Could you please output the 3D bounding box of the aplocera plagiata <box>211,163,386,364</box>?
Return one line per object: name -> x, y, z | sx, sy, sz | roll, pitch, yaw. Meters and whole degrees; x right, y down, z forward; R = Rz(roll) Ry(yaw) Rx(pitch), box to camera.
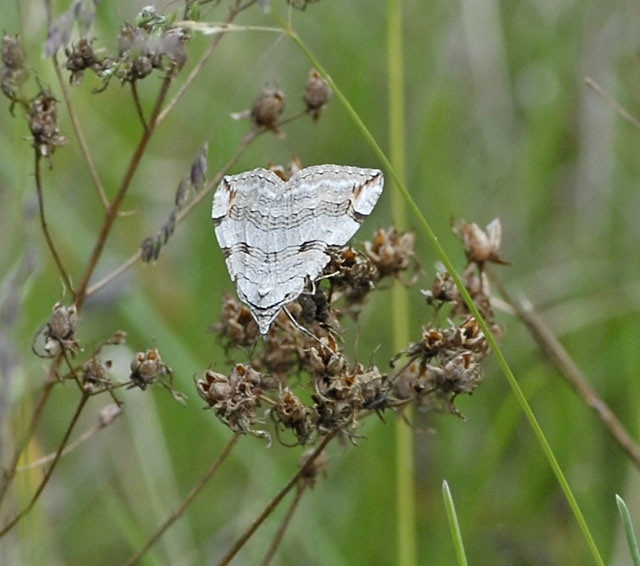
aplocera plagiata -> -0.087, -0.111, 2.780 | 0.454, 0.136, 0.585 | -2, 67, 40
